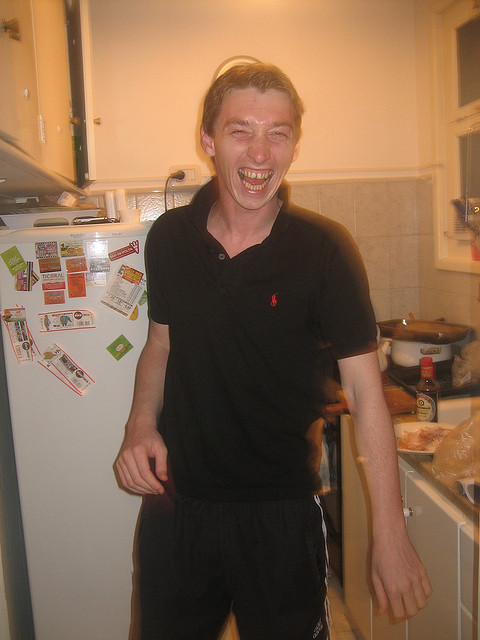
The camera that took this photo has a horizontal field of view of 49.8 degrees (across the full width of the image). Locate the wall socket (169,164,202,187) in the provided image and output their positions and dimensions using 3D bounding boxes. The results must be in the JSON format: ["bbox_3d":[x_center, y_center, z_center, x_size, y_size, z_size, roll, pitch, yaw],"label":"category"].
[{"bbox_3d":[-0.256,-0.678,2.388,0.188,0.118,0.094,-1,3,0],"label":"wall socket"}]

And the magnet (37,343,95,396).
[{"bbox_3d":[-0.512,0.156,1.556,0.187,0.100,0.038,37,-5,-16],"label":"magnet"}]
